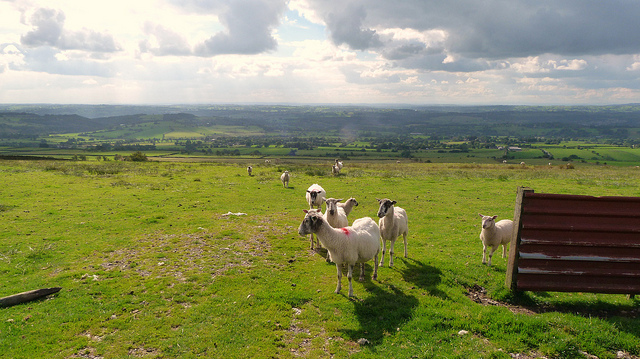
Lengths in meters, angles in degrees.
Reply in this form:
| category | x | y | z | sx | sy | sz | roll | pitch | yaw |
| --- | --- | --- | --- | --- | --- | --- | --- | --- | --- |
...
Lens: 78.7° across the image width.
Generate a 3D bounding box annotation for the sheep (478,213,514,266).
| category | x | y | z | sx | sy | sz | roll | pitch | yaw |
| --- | --- | --- | --- | --- | --- | --- | --- | --- | --- |
| sheep | 13.889 | 4.677 | 30.786 | 2.873 | 3.769 | 1.141 | -4 | 10 | -24 |
